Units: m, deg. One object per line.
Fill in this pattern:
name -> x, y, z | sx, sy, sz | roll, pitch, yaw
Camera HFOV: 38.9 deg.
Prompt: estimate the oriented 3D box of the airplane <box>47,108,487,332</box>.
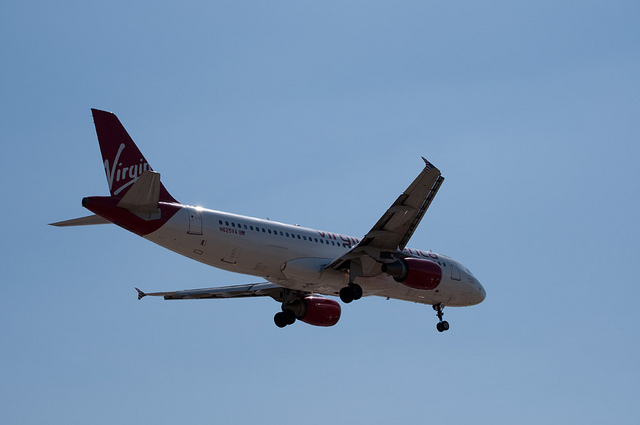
airplane -> -0.356, 0.658, 29.913 | 14.563, 14.723, 5.312 | 10, -88, -26
